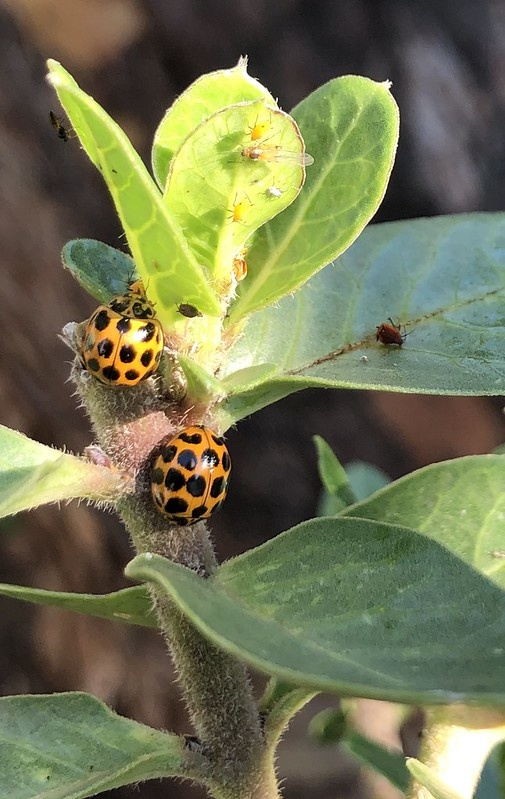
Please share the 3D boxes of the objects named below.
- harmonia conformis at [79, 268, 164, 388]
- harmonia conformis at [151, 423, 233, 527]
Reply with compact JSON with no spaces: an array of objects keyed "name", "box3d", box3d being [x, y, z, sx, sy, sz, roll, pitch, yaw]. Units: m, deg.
[{"name":"harmonia conformis","box3d":[-0.128,-0.063,0.811,0.078,0.094,0.104,-9,36,-22]},{"name":"harmonia conformis","box3d":[-0.060,0.069,0.810,0.077,0.093,0.033,5,14,-28]}]
